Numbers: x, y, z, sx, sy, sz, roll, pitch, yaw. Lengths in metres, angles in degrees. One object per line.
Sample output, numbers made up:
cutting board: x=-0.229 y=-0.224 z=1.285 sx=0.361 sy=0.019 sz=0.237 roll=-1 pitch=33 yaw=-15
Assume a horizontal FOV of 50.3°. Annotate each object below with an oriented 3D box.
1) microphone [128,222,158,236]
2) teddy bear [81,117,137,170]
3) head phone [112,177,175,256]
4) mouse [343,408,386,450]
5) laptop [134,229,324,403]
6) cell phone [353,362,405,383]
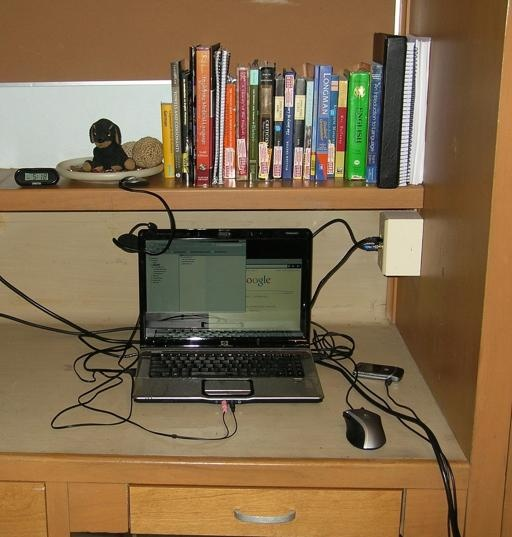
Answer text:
microphone: x=-0.269 y=-0.098 z=1.300 sx=0.055 sy=0.022 sz=0.057 roll=-14 pitch=15 yaw=-22
teddy bear: x=-0.326 y=-0.263 z=1.238 sx=0.134 sy=0.143 sz=0.105 roll=-1 pitch=9 yaw=-1
head phone: x=-0.251 y=-0.117 z=1.237 sx=0.132 sy=0.181 sz=0.048 roll=9 pitch=21 yaw=6
mouse: x=0.210 y=0.293 z=1.031 sx=0.079 sy=0.041 sz=0.123 roll=3 pitch=14 yaw=-3
laptop: x=-0.073 y=0.110 z=1.270 sx=0.465 sy=0.358 sz=0.346 roll=0 pitch=33 yaw=-2
cell phone: x=0.288 y=0.234 z=1.246 sx=0.082 sy=0.014 sz=0.046 roll=3 pitch=16 yaw=16
